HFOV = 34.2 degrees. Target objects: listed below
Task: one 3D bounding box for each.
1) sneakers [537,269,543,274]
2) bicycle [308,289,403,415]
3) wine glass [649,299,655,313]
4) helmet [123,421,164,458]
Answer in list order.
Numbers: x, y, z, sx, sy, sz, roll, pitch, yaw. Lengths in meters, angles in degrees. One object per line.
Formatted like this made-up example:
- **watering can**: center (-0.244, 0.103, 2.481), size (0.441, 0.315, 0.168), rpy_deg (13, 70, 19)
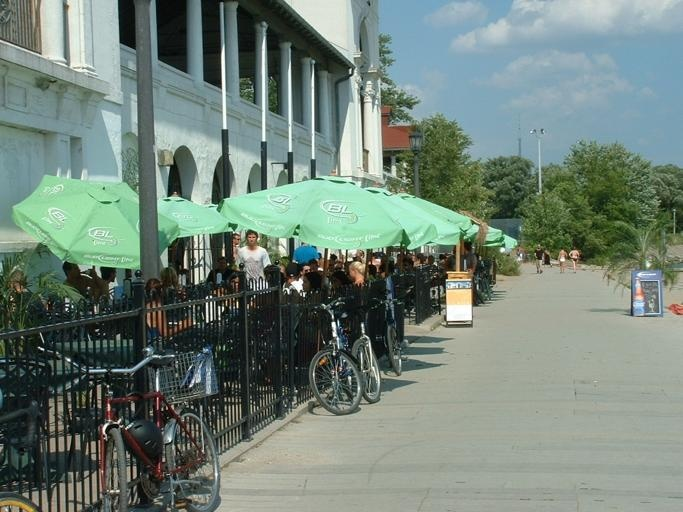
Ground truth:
- **sneakers**: center (10.801, 0.795, 60.465), size (0.153, 0.189, 0.543), rpy_deg (1, 11, -6)
- **bicycle**: center (0.074, 1.623, 15.925), size (0.811, 1.076, 1.709), rpy_deg (-14, -7, 20)
- **wine glass**: center (7.369, 1.163, 26.269), size (0.139, 0.248, 0.061), rpy_deg (1, 4, 15)
- **helmet**: center (-2.030, 1.822, 11.494), size (0.390, 0.364, 0.296), rpy_deg (39, -4, -17)
